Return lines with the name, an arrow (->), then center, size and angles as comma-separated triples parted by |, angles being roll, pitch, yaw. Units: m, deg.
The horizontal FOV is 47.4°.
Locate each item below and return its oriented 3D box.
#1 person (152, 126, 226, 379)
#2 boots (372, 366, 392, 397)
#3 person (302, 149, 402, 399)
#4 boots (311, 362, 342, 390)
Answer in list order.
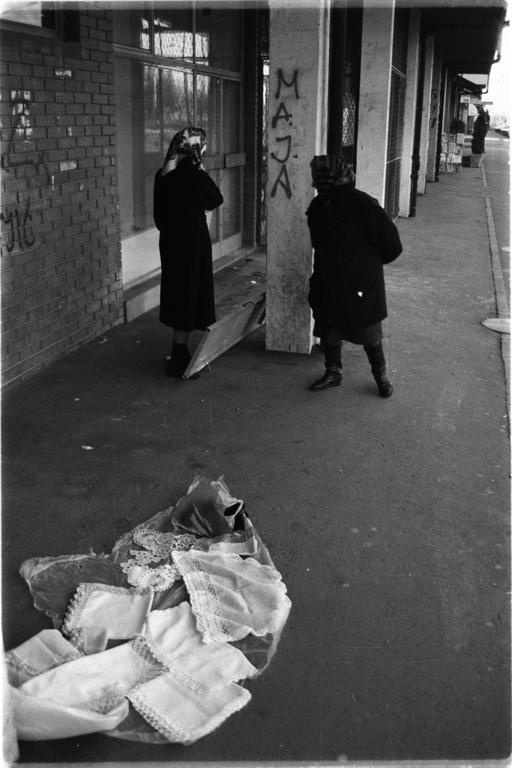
person -> -0.634, -1.191, 5.432 | 0.611, 2.238, 0.435 | -1, 11, -7
boots -> 1.130, -0.013, 5.274 | 0.059, 0.221, 0.131 | -18, -24, 16
person -> 0.815, -0.905, 5.062 | 0.802, 2.052, 0.465 | 2, 11, 10
boots -> 0.644, -0.082, 5.441 | 0.341, 0.275, 0.142 | -8, 15, -28
